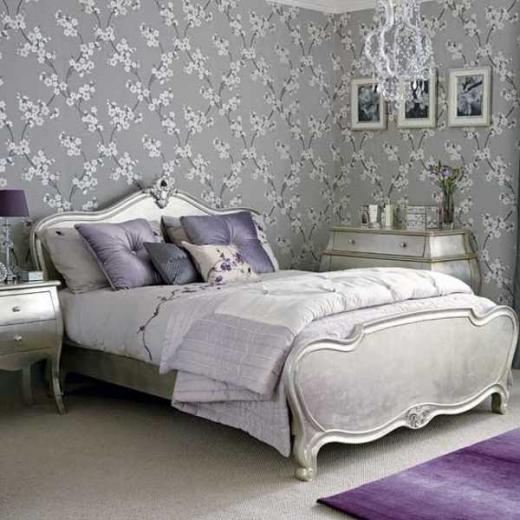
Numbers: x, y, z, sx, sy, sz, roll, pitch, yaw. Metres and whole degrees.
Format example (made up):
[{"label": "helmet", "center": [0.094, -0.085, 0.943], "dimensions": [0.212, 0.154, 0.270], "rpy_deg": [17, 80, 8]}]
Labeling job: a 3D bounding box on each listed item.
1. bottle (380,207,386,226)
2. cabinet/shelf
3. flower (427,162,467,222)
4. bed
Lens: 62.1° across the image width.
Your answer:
[{"label": "bottle", "center": [1.158, -0.404, 4.077], "dimensions": [0.047, 0.143, 0.157], "rpy_deg": [-1, 5, 3]}, {"label": "cabinet/shelf", "center": [1.111, 0.156, 3.975], "dimensions": [1.034, 0.723, 0.648], "rpy_deg": [5, -12, 36]}, {"label": "flower", "center": [1.665, -0.562, 3.847], "dimensions": [0.267, 0.544, 0.293], "rpy_deg": [3, -4, -17]}, {"label": "bed", "center": [-0.030, 0.334, 2.323], "dimensions": [1.687, 1.071, 1.406], "rpy_deg": [4, 8, 45]}]
